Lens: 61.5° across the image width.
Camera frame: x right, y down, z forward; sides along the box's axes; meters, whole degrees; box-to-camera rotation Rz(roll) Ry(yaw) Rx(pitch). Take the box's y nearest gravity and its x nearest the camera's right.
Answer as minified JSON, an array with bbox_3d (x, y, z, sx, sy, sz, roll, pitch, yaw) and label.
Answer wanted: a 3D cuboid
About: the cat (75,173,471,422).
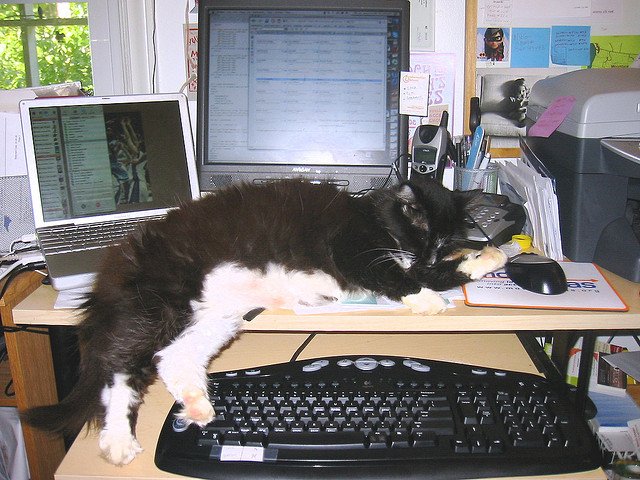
[{"bbox_3d":[-0.065,0.123,1.242,0.842,0.246,0.465,-4,46,-2],"label":"cat"}]

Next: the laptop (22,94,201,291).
[{"bbox_3d":[-0.508,-0.095,1.446,0.577,0.371,0.470,-8,39,-20],"label":"laptop"}]

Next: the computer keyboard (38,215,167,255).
[{"bbox_3d":[-0.516,-0.013,1.276,0.291,0.102,0.017,-4,50,-20],"label":"computer keyboard"}]

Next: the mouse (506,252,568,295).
[{"bbox_3d":[0.462,0.071,1.160,0.088,0.058,0.129,-8,18,-22],"label":"mouse"}]
